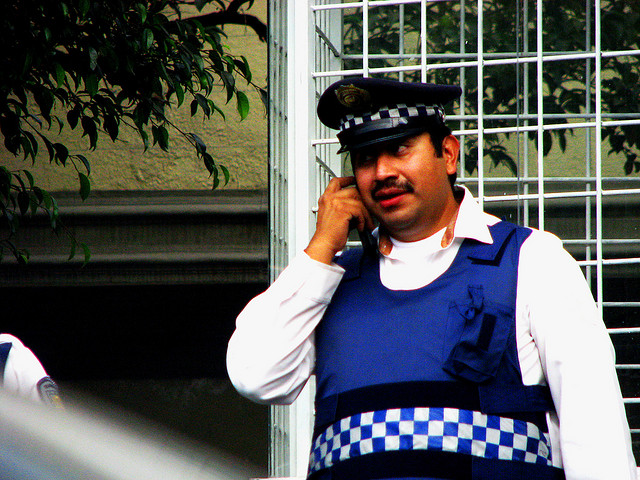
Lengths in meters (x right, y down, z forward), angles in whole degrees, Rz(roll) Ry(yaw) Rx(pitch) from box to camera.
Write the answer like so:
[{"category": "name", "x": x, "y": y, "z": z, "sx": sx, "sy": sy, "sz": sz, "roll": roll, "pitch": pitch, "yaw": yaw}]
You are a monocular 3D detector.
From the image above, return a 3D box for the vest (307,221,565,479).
[{"category": "vest", "x": 0.493, "y": 0.455, "z": 8.490, "sx": 0.690, "sy": 0.963, "sz": 0.536, "roll": -10, "pitch": -26, "yaw": 26}]
